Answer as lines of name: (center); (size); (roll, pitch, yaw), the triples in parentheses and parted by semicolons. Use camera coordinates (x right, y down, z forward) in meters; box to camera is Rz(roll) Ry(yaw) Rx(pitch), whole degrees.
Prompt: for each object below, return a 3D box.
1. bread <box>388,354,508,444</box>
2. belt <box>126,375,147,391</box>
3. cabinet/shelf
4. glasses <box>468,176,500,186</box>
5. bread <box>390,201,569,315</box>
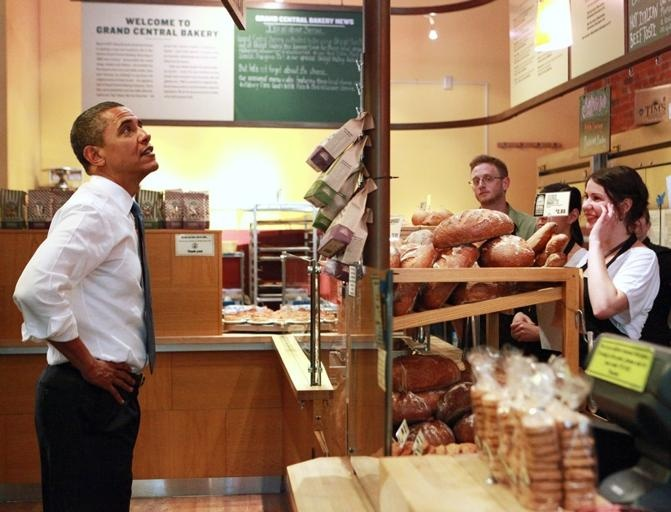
bread: (0.370, 0.507, 2.153); (0.315, 0.346, 0.134); (7, -29, -4)
belt: (-0.886, 0.567, 2.689); (0.071, 0.110, 0.038); (3, -4, -9)
cabinet/shelf: (-0.626, -0.031, 7.179); (0.814, 1.209, 1.379); (-1, 5, -7)
glasses: (1.046, -0.542, 4.325); (0.108, 0.066, 0.226); (-4, 6, -35)
bread: (0.494, 0.006, 2.147); (0.672, 0.347, 0.269); (-2, 5, -16)
